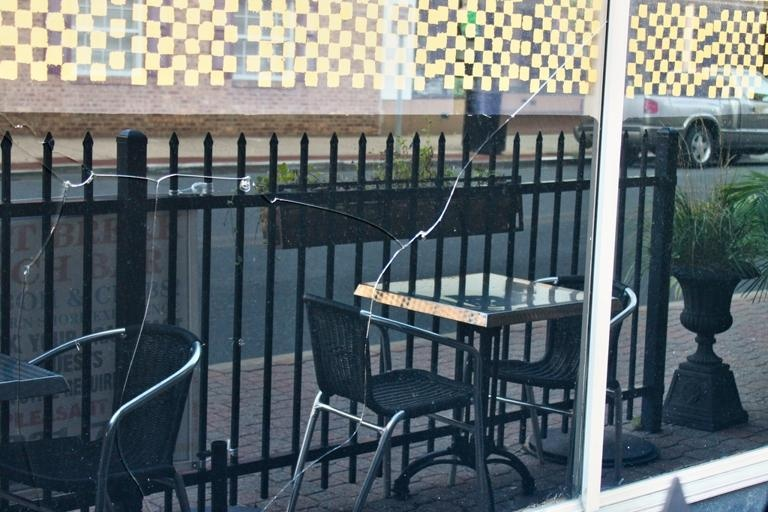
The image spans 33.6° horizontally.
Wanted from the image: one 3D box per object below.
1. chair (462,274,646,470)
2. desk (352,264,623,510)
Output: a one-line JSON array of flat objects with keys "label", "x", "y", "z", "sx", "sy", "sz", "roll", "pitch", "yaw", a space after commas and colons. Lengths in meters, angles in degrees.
[{"label": "chair", "x": 0.589, "y": 0.385, "z": 5.691, "sx": 0.762, "sy": 1.046, "sz": 0.852, "roll": -1, "pitch": 5, "yaw": -42}, {"label": "desk", "x": 0.456, "y": 0.544, "z": 5.270, "sx": 1.012, "sy": 0.802, "sz": 1.035, "roll": 4, "pitch": 8, "yaw": 31}]
